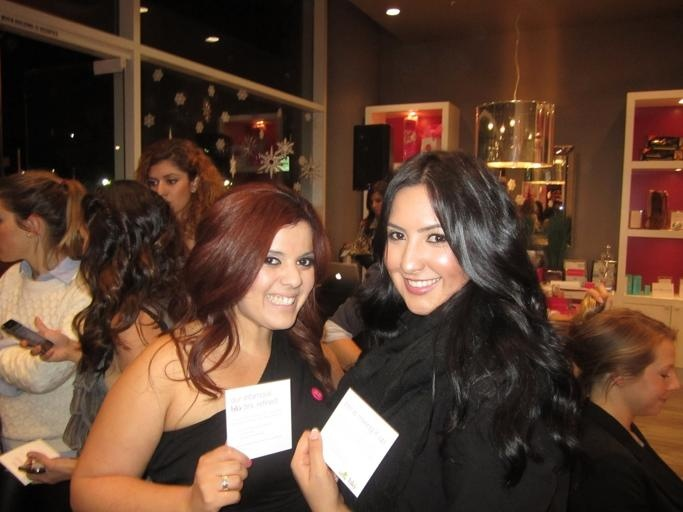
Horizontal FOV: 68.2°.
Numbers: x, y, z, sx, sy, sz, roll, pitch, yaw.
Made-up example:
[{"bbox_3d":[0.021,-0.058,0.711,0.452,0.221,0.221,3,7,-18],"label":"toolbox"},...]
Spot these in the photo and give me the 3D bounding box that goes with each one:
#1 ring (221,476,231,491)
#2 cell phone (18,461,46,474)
[{"bbox_3d":[-0.402,0.788,1.749,0.030,0.045,0.018,1,8,-14],"label":"ring"},{"bbox_3d":[-1.360,0.938,2.224,0.125,0.037,0.032,4,8,7],"label":"cell phone"}]
